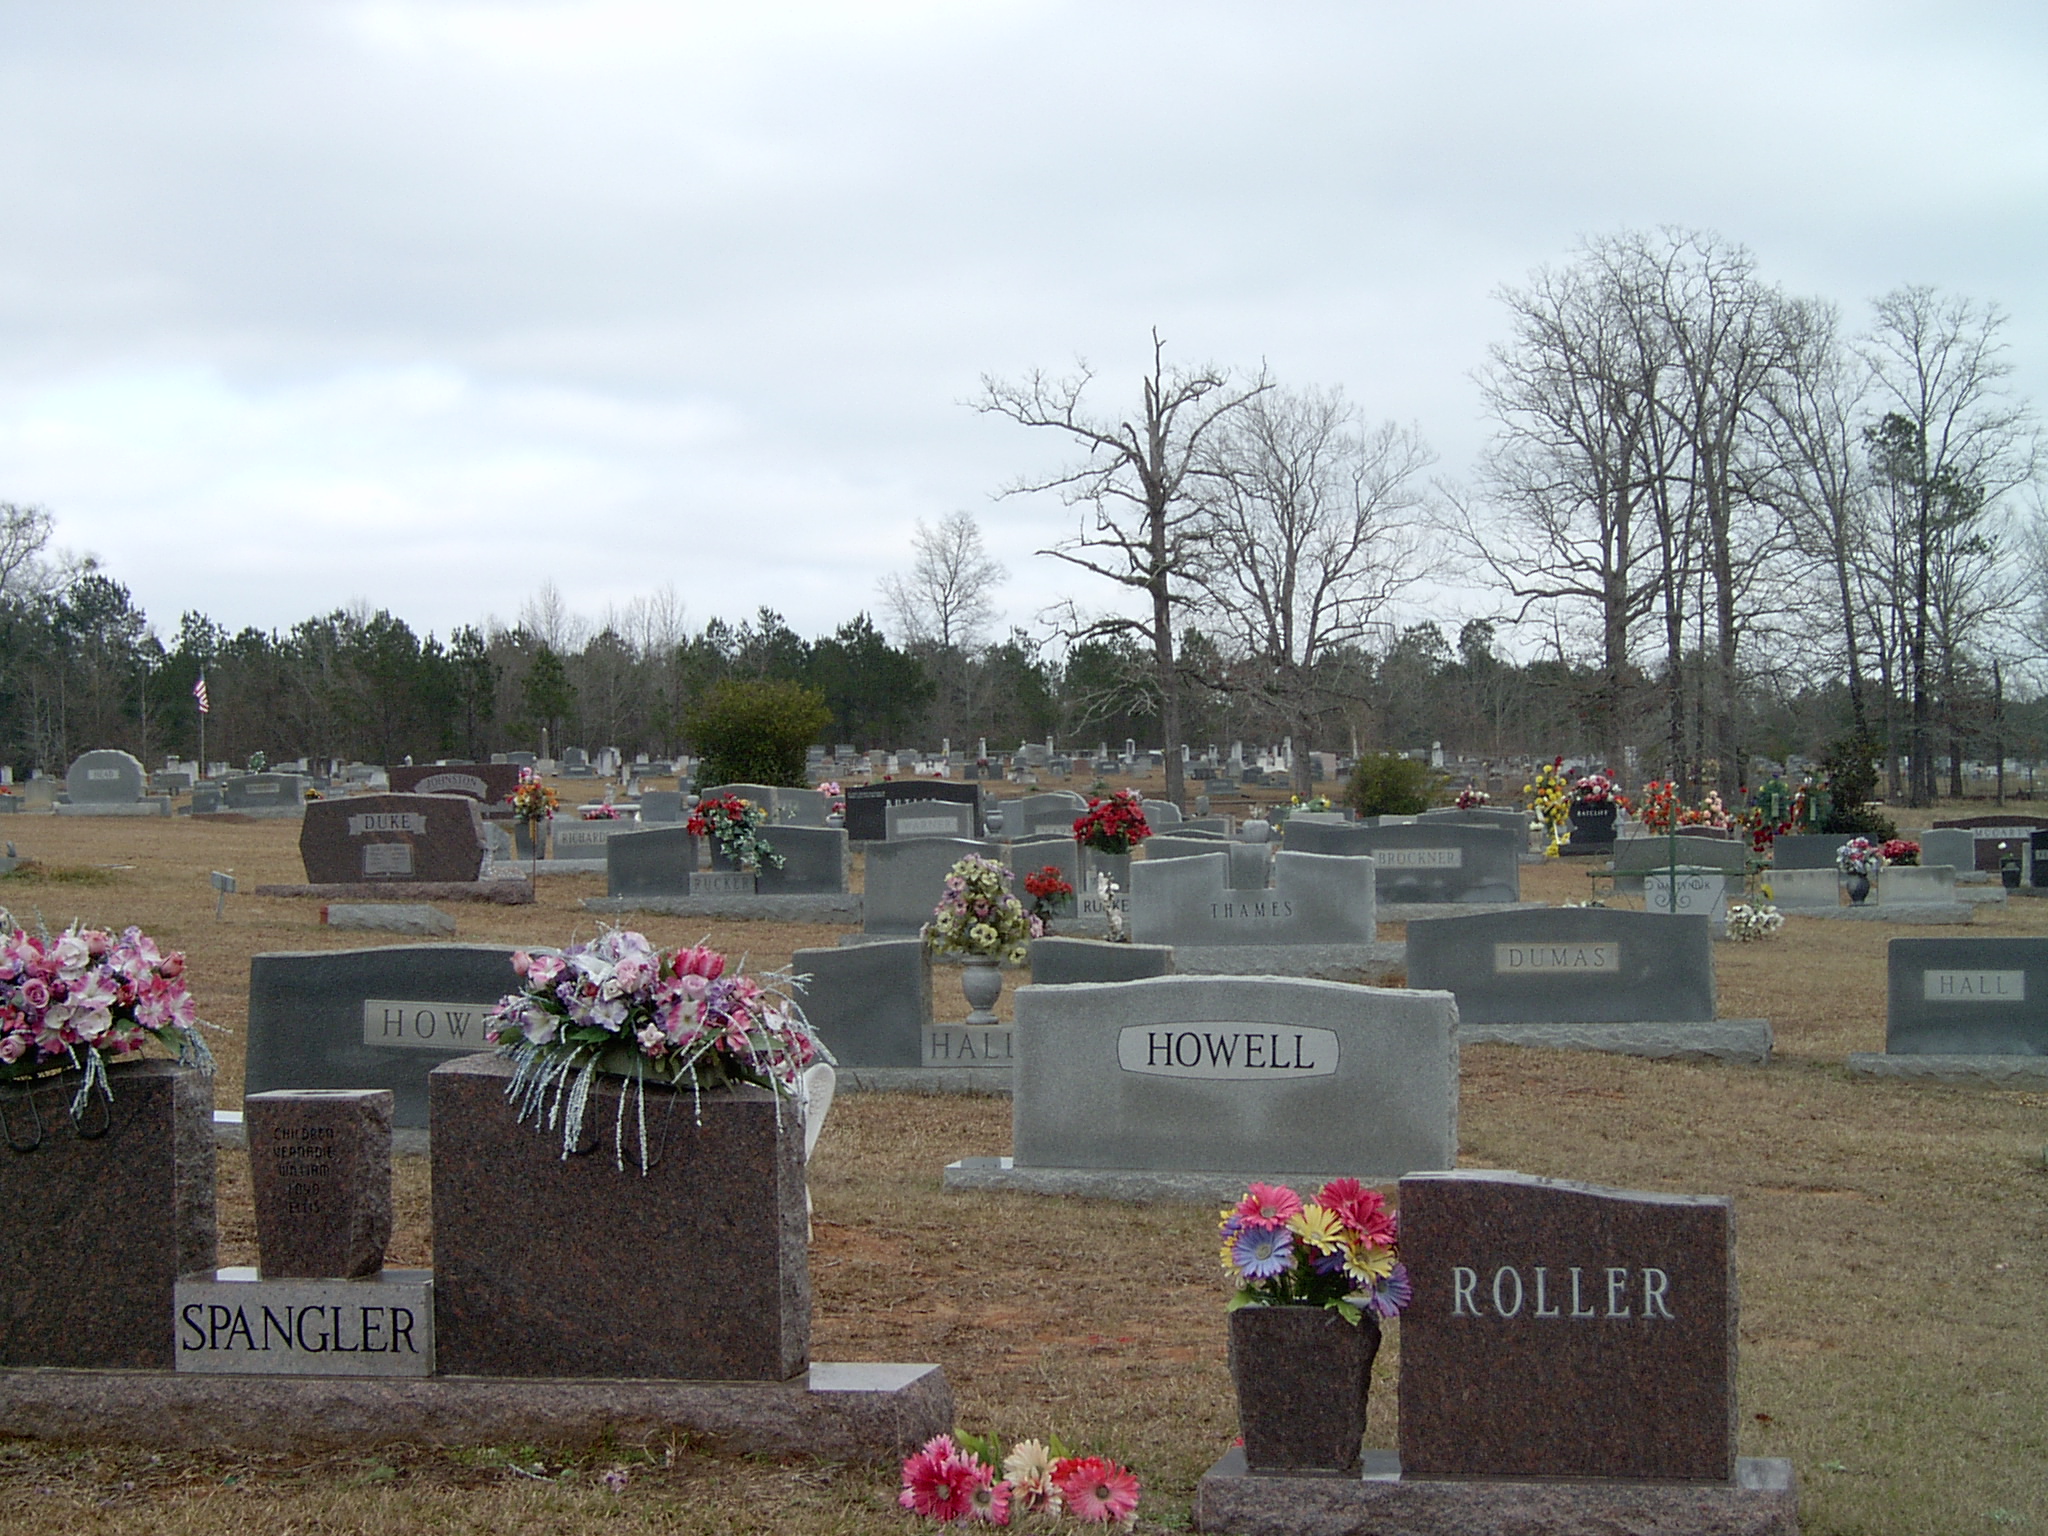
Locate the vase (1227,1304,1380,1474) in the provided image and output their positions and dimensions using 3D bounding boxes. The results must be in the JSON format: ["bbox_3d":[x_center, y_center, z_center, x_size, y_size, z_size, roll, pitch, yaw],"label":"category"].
[{"bbox_3d":[1.243,2.995,13.560,0.489,0.752,0.725,-7,-18,8],"label":"vase"}]

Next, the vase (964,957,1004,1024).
[{"bbox_3d":[-0.323,1.734,22.131,0.278,0.472,0.771,0,-2,0],"label":"vase"}]

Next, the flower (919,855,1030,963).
[{"bbox_3d":[-0.431,1.082,21.866,0.805,1.017,0.733,9,13,33],"label":"flower"}]

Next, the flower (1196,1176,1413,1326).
[{"bbox_3d":[1.407,2.352,13.512,0.811,0.624,0.859,-3,12,-5],"label":"flower"}]
